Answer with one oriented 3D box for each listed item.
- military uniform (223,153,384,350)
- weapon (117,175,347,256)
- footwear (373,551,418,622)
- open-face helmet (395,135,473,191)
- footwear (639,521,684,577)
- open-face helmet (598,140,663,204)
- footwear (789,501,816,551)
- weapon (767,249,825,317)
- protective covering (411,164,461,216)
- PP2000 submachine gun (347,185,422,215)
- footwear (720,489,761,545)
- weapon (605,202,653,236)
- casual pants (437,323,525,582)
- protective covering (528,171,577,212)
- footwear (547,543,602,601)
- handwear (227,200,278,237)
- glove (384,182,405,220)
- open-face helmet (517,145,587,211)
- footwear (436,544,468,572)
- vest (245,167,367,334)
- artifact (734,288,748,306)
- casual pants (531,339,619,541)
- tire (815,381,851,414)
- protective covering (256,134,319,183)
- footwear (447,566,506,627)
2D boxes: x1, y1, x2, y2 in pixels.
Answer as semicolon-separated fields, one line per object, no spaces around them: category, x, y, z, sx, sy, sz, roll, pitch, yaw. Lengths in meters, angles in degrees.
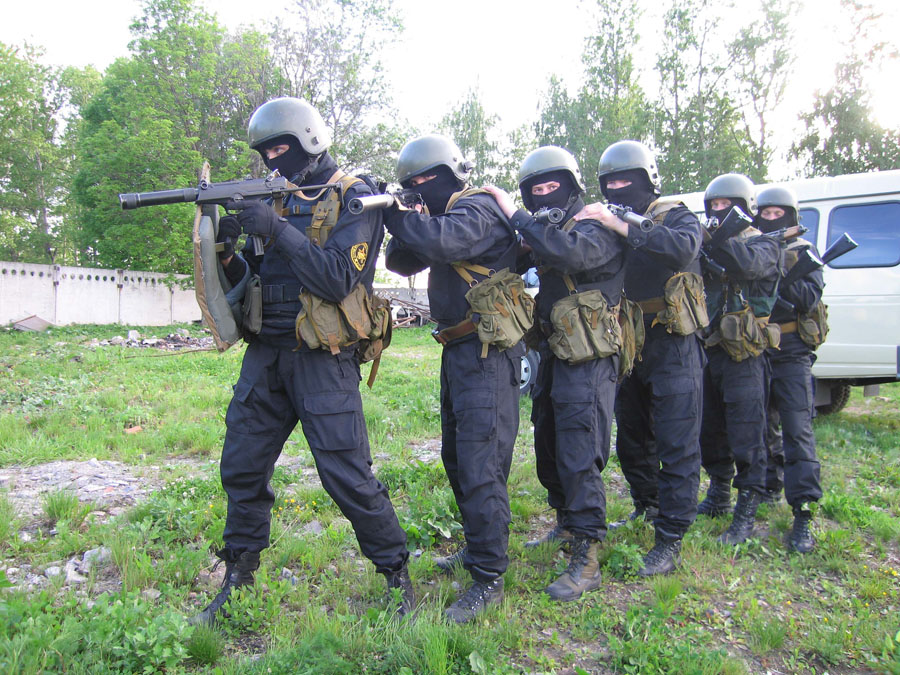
military uniform;-1.096;-0.534;4.859;0.885;1.332;0.797;12;3;23
weapon;-1.381;-0.813;4.754;1.329;0.514;0.170;-10;7;-18
footwear;-0.354;1.690;4.750;0.211;0.511;0.504;-3;-6;-1
open-face helmet;-0.119;-1.278;5.141;0.409;0.338;0.363;-29;18;-30
footwear;1.565;1.576;5.346;0.220;0.316;0.344;10;14;32
open-face helmet;1.432;-1.332;5.730;0.354;0.380;0.466;3;16;33
footwear;2.802;1.492;5.748;0.182;0.349;0.340;8;13;26
weapon;2.933;-0.455;6.177;0.147;0.544;0.203;31;17;20
protective covering;-0.076;-1.068;5.259;0.273;0.284;0.359;-4;17;21
PP2000 submachine gun;-0.393;-0.900;4.834;0.271;0.165;0.744;-8;7;26
footwear;2.334;1.445;5.842;0.189;0.366;0.450;10;14;32
weapon;1.292;-0.880;5.363;0.223;0.150;0.527;14;12;-14
casual pants;0.195;0.807;4.983;0.551;1.573;0.573;2;12;0
protective covering;0.755;-1.089;5.357;0.223;0.310;0.324;2;9;15
footwear;0.890;1.635;5.148;0.509;0.401;0.197;-2;-1;-37
handwear;-1.237;-0.742;4.578;0.182;0.278;0.241;16;11;27
glove;-0.362;-0.935;4.933;0.084;0.127;0.331;-5;1;11
open-face helmet;0.725;-1.181;5.449;0.425;0.470;0.471;-15;-8;35
footwear;0.048;1.645;5.402;0.202;0.073;0.214;-2;0;19
vest;-0.882;-0.499;5.082;0.832;1.182;0.949;5;-2;-32
artifact;2.422;-0.327;6.035;0.095;0.174;0.052;-2;-25;3
casual pants;0.882;0.839;5.380;0.697;1.440;0.534;8;13;27
tire;4.878;0.757;9.280;0.172;0.533;0.498;2;1;-18
protective covering;-1.119;-1.167;4.941;0.344;0.348;0.267;3;-7;-12
footwear;0.170;1.734;4.882;0.166;0.230;0.500;21;19;41
